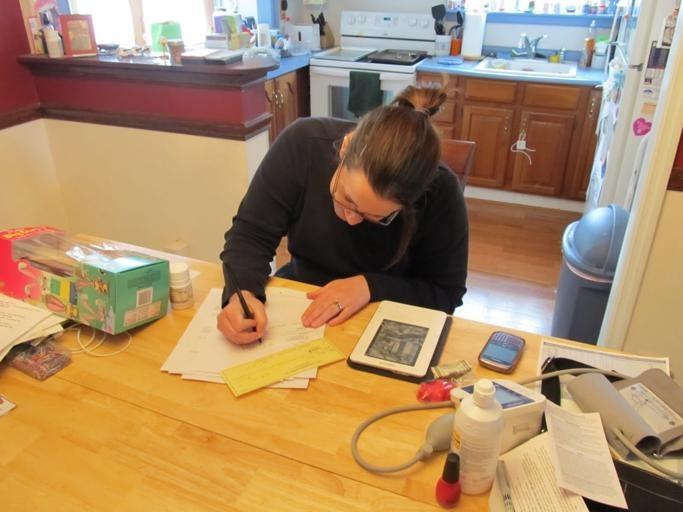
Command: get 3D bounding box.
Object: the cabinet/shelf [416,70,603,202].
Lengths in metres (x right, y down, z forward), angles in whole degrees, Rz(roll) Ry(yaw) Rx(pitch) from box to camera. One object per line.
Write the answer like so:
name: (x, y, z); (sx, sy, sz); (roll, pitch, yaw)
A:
cabinet/shelf: (1.146, -0.808, 3.171); (1.116, 0.674, 0.588); (11, 40, 15)

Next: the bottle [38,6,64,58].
bottle: (-1.396, -1.076, 2.387); (0.098, 0.219, 0.171); (-14, 31, -23)

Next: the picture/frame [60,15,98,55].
picture/frame: (-1.276, -1.072, 2.418); (0.012, 0.184, 0.158); (22, 34, 25)

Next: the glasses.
glasses: (0.048, -0.180, 1.314); (0.155, 0.061, 0.198); (37, 14, -25)

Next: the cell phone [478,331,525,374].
cell phone: (0.404, 0.241, 1.247); (0.088, 0.032, 0.145); (18, 35, 31)

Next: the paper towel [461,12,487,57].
paper towel: (1.055, -1.751, 3.981); (0.164, 0.334, 0.104); (4, 29, 8)

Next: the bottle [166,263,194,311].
bottle: (-0.459, 0.085, 1.397); (0.079, 0.115, 0.076); (2, 22, -1)

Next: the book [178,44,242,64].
book: (-0.587, -0.932, 2.328); (0.255, 0.042, 0.264); (7, 29, 13)

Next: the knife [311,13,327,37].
knife: (-0.209, -2.100, 4.512); (0.146, 0.183, 0.139); (-1, 28, -1)

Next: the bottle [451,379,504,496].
bottle: (0.252, 0.355, 0.933); (0.087, 0.207, 0.062); (9, 30, 17)

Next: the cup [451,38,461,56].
cup: (0.947, -1.730, 4.121); (0.087, 0.131, 0.054); (9, 30, 16)
